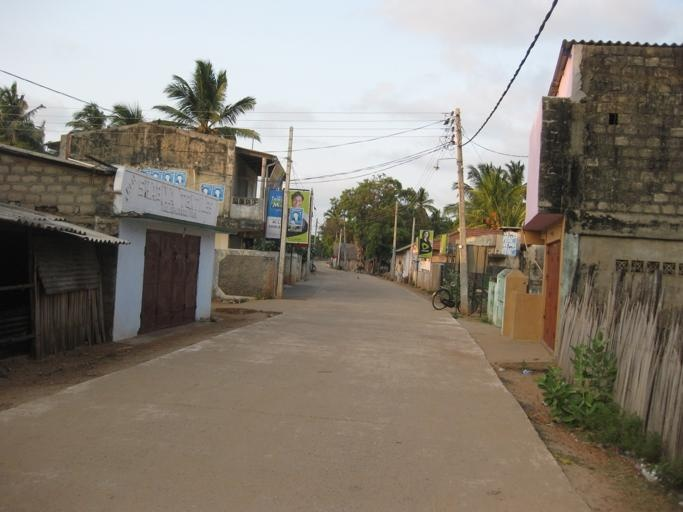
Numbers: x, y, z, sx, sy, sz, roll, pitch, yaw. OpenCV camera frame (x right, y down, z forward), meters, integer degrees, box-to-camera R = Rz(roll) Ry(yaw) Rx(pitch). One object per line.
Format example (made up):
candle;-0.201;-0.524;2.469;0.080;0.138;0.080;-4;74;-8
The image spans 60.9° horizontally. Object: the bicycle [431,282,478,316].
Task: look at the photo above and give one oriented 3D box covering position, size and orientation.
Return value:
bicycle;5.105;1.897;26.021;1.935;1.327;1.017;16;-5;-18
